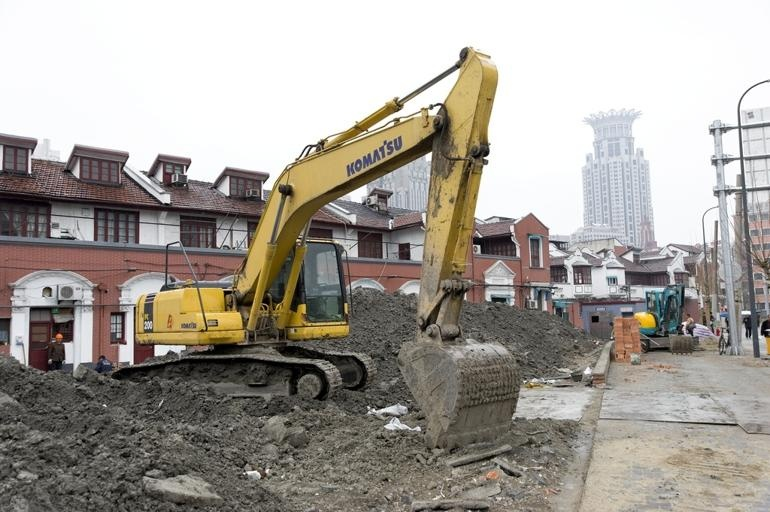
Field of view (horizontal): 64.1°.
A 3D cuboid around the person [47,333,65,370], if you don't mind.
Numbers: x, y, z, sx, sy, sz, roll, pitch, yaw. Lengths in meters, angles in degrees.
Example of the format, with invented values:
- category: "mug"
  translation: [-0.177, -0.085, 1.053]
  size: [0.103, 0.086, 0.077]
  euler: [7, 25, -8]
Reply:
- category: "person"
  translation: [-10.871, 3.121, 20.215]
  size: [0.432, 1.141, 1.537]
  euler: [2, -6, -30]

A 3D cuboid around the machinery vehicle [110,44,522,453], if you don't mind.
- category: "machinery vehicle"
  translation: [-1.758, 0.147, 12.153]
  size: [8.493, 6.129, 3.581]
  euler: [-4, -3, 39]

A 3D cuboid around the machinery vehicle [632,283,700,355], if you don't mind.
- category: "machinery vehicle"
  translation: [11.870, 2.608, 26.523]
  size: [2.092, 2.250, 2.282]
  euler: [-7, -4, -34]
